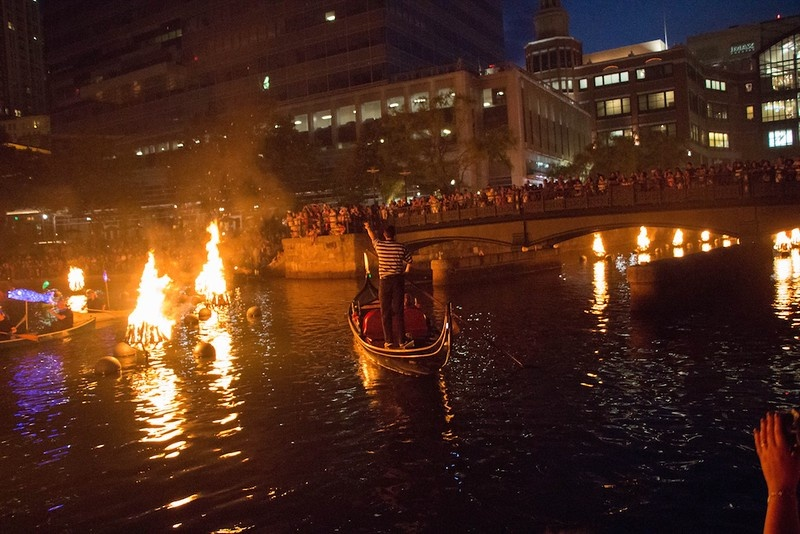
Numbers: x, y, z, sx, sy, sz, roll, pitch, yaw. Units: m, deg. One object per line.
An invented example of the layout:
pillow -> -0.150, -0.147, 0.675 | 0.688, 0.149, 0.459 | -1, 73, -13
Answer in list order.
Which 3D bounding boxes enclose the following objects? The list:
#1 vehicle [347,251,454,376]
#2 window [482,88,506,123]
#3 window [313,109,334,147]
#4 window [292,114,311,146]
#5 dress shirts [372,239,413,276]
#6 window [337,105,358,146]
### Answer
vehicle -> -0.319, 1.832, 22.914 | 1.819, 2.328, 6.335 | -8, 13, -12
window -> 9.904, -17.185, 73.750 | 2.283, 3.801, 2.370 | 3, 14, 37
window -> -9.021, -16.123, 79.883 | 2.751, 4.193, 0.750 | 4, 14, 30
window -> -11.514, -16.507, 81.138 | 2.535, 3.240, 0.747 | 9, 17, 44
dress shirts -> -0.251, -0.269, 20.581 | 1.012, 1.159, 0.460 | -3, 12, 0
window -> -6.768, -16.400, 79.944 | 3.171, 4.405, 4.401 | -6, 14, -20
